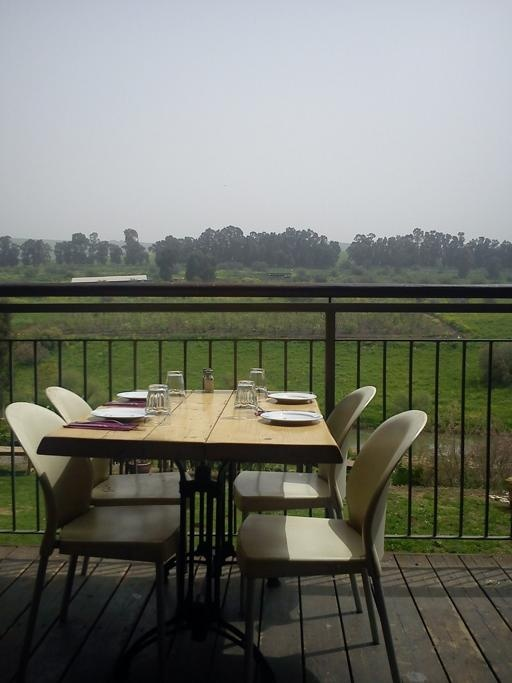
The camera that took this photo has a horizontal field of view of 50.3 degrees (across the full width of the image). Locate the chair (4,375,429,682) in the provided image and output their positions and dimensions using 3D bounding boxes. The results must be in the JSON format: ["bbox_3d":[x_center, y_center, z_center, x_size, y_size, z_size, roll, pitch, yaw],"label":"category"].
[{"bbox_3d":[-0.086,0.483,1.433,1.011,0.706,0.684,0,7,16],"label":"chair"}]

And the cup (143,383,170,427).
[{"bbox_3d":[-0.254,0.162,1.413,0.074,0.101,0.071,-1,2,0],"label":"cup"}]

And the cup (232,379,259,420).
[{"bbox_3d":[-0.027,0.157,1.469,0.079,0.095,0.058,1,-1,-3],"label":"cup"}]
